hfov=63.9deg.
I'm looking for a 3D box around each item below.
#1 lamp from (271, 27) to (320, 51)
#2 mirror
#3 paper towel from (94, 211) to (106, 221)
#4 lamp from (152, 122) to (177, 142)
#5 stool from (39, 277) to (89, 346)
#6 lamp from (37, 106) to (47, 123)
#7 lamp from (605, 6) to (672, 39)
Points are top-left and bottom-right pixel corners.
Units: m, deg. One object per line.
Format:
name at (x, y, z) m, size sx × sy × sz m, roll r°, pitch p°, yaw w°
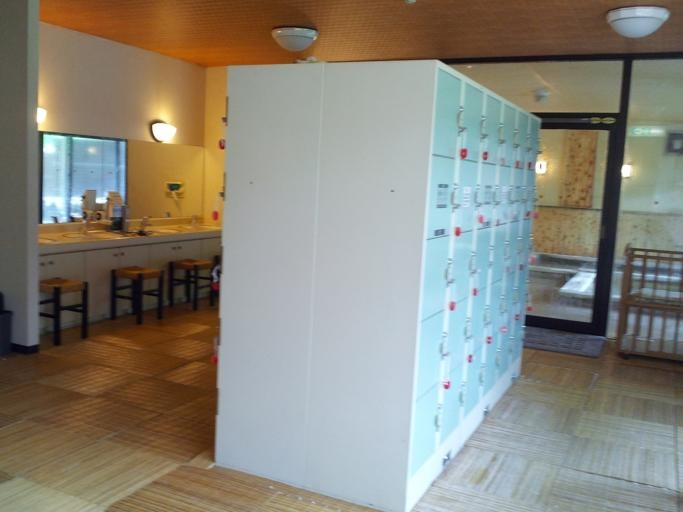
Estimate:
lamp at (-0.550, -2.556, 6.442) m, size 0.504 × 0.211 × 0.371 m, roll 0°, pitch 7°, yaw 5°
mirror at (-3.295, -0.960, 7.108) m, size 1.884 × 1.121 × 0.068 m, roll 7°, pitch 9°, yaw 33°
paper towel at (-3.275, -0.544, 7.430) m, size 0.078 × 0.119 × 0.145 m, roll 1°, pitch 6°, yaw 31°
lamp at (-2.656, -1.871, 8.294) m, size 0.181 × 0.318 × 0.413 m, roll 3°, pitch 8°, yaw 27°
stool at (-2.990, 0.602, 6.439) m, size 0.746 × 0.656 × 0.663 m, roll 2°, pitch -2°, yaw -6°
lamp at (-3.618, -1.713, 6.681) m, size 0.055 × 0.196 × 0.130 m, roll 2°, pitch 8°, yaw 19°
lamp at (2.801, -2.256, 5.249) m, size 0.367 × 0.116 × 0.344 m, roll 0°, pitch 5°, yaw 22°
